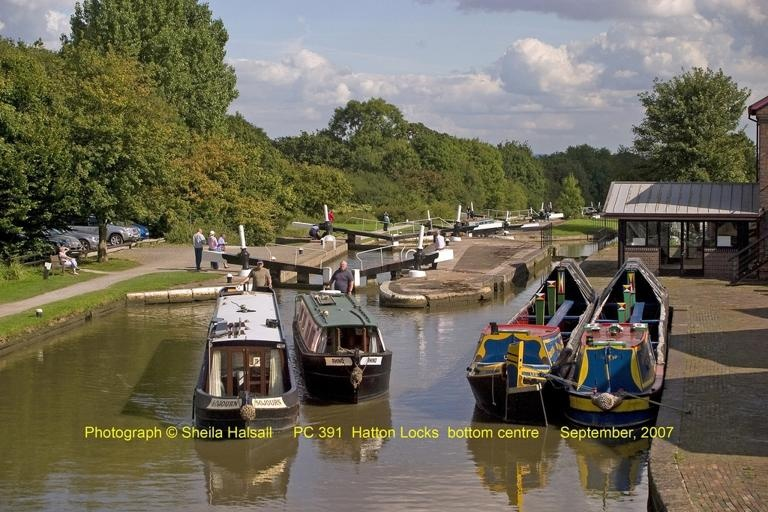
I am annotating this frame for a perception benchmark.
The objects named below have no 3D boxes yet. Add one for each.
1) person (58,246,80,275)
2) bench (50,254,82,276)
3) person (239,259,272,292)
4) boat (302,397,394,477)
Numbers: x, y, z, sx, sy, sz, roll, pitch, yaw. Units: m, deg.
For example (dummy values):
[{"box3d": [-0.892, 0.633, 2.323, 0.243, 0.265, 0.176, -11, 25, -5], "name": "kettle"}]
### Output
[{"box3d": [-16.366, 0.113, 42.934, 0.884, 1.388, 2.027, -6, 16, -22], "name": "person"}, {"box3d": [-16.490, 0.430, 42.957, 1.227, 1.122, 0.995, 0, 2, 7], "name": "bench"}, {"box3d": [-5.844, 0.856, 37.572, 0.969, 0.558, 1.780, 8, 42, -1], "name": "person"}, {"box3d": [-1.005, 5.129, 24.571, 2.588, 0.317, 3.526, -1, 15, -4], "name": "boat"}]
